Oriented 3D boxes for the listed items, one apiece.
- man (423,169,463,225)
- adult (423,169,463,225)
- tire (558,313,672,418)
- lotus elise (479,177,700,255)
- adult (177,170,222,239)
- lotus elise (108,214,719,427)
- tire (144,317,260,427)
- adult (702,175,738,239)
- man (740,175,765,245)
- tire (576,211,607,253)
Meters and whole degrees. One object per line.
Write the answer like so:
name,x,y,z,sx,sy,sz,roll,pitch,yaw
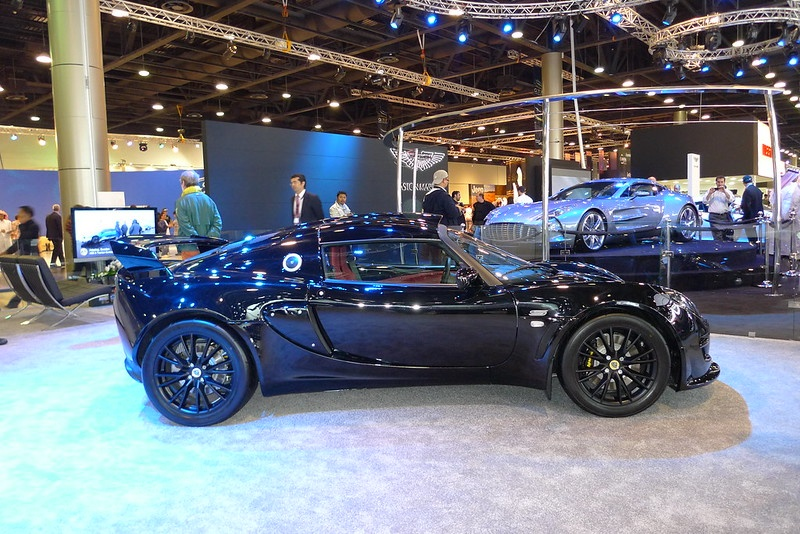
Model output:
man,0.774,-1.244,8.792,0.591,0.948,0.799,-11,23,-33
adult,0.785,-1.228,8.811,0.614,0.981,0.843,-8,16,-31
tire,1.742,0.794,3.892,0.862,0.765,0.311,-5,-22,41
lotus elise,3.080,-0.896,8.452,3.585,0.886,1.868,-2,1,-31
adult,-3.000,-0.748,7.221,0.618,1.217,0.487,-5,22,-43
lotus elise,0.053,0.417,4.368,4.339,1.123,2.025,-2,3,0
tire,-1.604,0.825,3.935,0.949,0.811,0.304,1,-2,10
adult,8.282,-1.355,12.732,0.777,1.961,0.618,0,-2,5
man,7.904,-1.381,11.005,0.379,0.979,0.368,-8,-4,29
tire,3.265,-0.612,8.130,0.269,0.675,0.742,-3,-2,-19
